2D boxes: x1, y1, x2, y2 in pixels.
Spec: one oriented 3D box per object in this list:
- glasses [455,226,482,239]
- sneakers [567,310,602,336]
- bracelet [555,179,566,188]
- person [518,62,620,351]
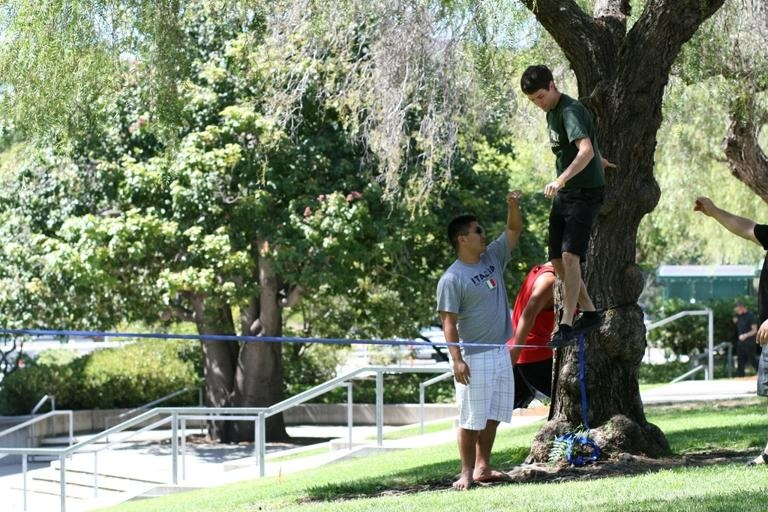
[{"bbox_3d":[1.334,-0.354,22.893,0.250,0.109,0.189,-20,-3,11],"label":"glasses"},{"bbox_3d":[3.119,1.076,22.742,0.601,0.273,0.246,-28,13,35],"label":"sneakers"},{"bbox_3d":[2.633,-1.081,22.185,0.144,0.073,0.195,1,-1,8],"label":"bracelet"},{"bbox_3d":[2.852,-0.734,22.675,1.232,4.314,1.100,-2,8,-6],"label":"person"}]
